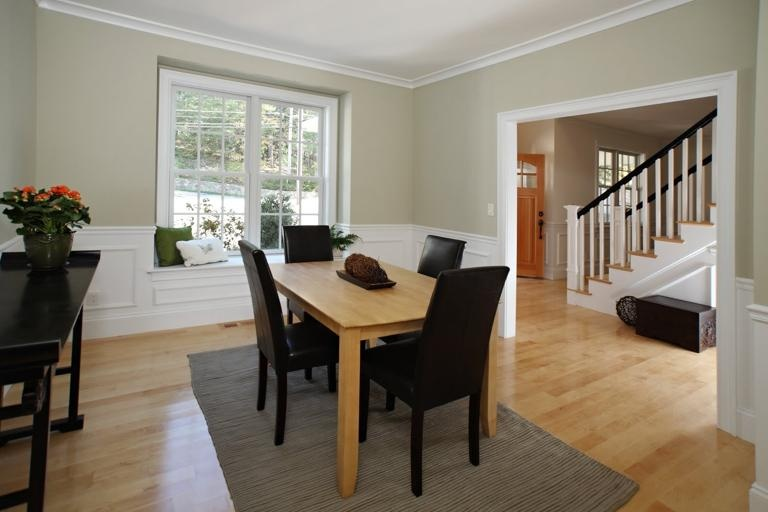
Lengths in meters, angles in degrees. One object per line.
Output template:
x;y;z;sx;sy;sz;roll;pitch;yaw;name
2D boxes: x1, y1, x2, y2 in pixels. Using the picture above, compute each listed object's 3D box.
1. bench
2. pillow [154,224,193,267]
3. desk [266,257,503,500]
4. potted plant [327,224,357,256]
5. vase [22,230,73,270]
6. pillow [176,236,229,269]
3.248;0.715;5.532;0.403;0.444;0.710;-15;16;-24;bench
-2.361;-0.098;5.528;0.155;0.437;0.420;-11;-1;38;pillow
-0.041;0.235;3.826;1.360;1.187;2.442;-4;8;-30;desk
-0.559;-0.203;6.404;0.368;0.254;0.369;0;1;-16;potted plant
-2.508;-0.042;3.686;0.323;0.274;0.309;0;7;-43;vase
-2.066;-0.060;5.618;0.273;0.282;0.657;38;20;25;pillow
